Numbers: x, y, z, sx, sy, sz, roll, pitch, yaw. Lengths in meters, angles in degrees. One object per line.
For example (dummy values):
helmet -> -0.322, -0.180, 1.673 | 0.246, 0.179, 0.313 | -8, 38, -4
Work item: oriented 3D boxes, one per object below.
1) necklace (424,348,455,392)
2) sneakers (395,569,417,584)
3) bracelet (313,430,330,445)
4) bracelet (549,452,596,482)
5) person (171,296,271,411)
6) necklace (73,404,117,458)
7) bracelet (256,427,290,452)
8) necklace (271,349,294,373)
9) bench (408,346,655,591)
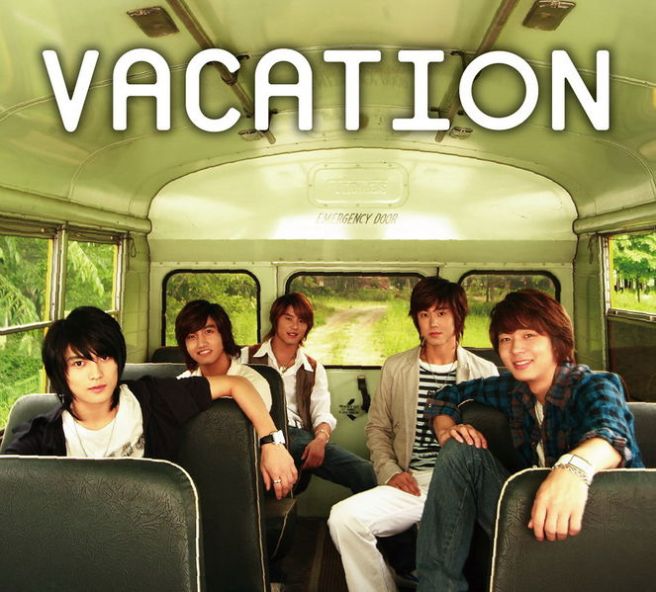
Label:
necklace -> 0.741, 0.495, 3.639 | 0.226, 0.249, 0.061 | -1, -9, 4
sneakers -> 0.493, 1.763, 3.473 | 0.132, 0.067, 0.192 | 2, -7, 1
bracelet -> -0.058, 1.137, 4.452 | 0.104, 0.150, 0.065 | -1, -1, -4
bracelet -> 0.807, 0.560, 1.793 | 0.119, 0.060, 0.141 | -3, -2, 26
person -> -0.799, 0.429, 3.832 | 0.809, 0.863, 0.428 | -6, 4, 20
necklace -> -1.024, 0.627, 2.432 | 0.138, 0.177, 0.167 | 1, -11, -13
bracelet -> -0.277, 0.708, 2.722 | 0.153, 0.074, 0.167 | -19, -22, 31
necklace -> -0.387, 0.558, 4.778 | 0.141, 0.212, 0.080 | 5, -5, -10
bench -> 0.806, 0.791, 2.390 | 0.963, 0.946, 0.819 | -3, -2, 31
